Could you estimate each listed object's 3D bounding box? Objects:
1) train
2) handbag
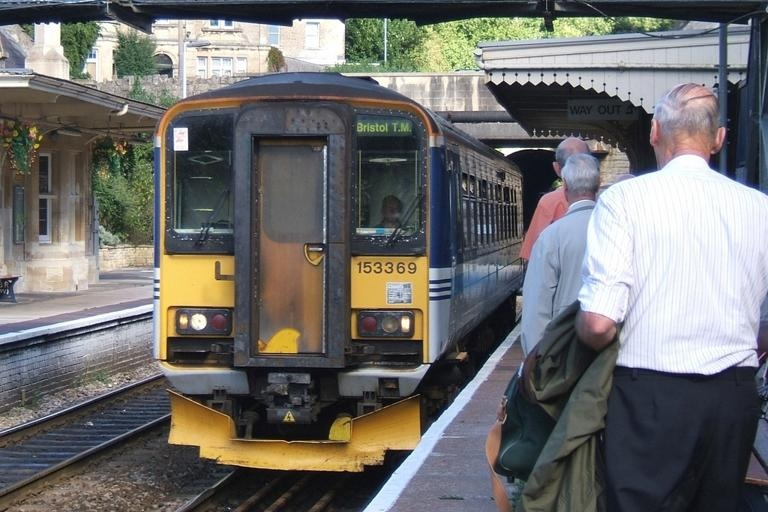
[{"bbox_3d":[-0.108,0.224,10.632,2.241,4.484,4.378,6,7,43],"label":"train"},{"bbox_3d":[0.799,1.024,5.597,0.254,0.599,0.448,-1,6,-21],"label":"handbag"}]
